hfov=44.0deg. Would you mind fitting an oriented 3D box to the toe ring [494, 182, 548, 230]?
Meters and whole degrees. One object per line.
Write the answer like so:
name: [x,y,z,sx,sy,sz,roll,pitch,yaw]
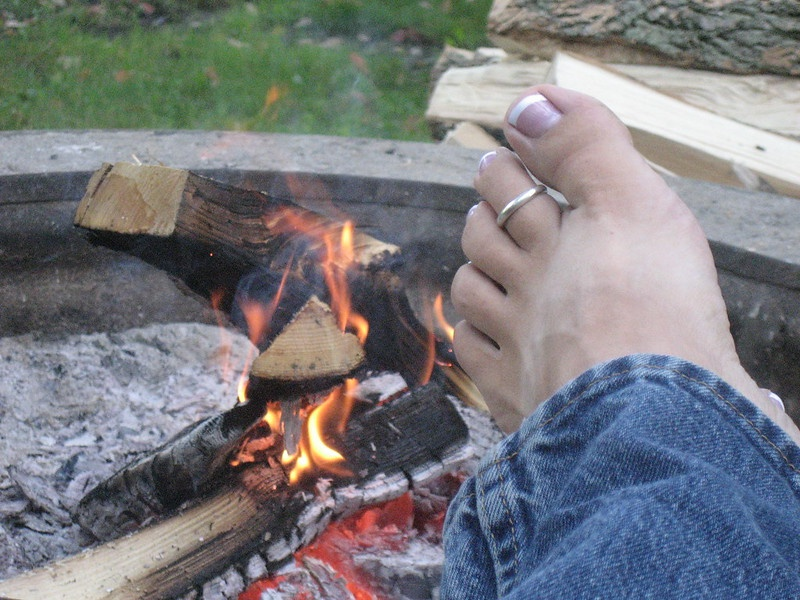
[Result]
toe ring: [0.315,-0.240,2.540,0.021,0.120,0.122,48,43,6]
